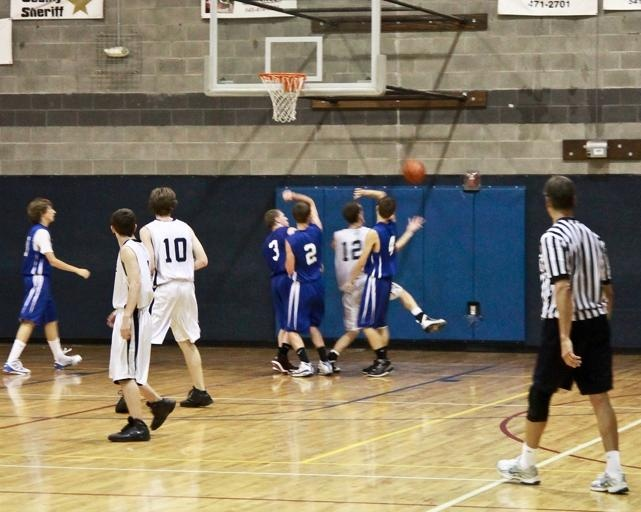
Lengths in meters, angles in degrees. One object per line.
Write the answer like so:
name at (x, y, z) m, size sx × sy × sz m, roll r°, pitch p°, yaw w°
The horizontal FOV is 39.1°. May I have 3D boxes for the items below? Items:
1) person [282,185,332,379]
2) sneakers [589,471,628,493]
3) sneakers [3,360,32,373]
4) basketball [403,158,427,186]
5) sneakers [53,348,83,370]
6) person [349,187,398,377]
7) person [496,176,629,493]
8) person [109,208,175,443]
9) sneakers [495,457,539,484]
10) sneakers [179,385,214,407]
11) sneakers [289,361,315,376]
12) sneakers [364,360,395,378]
person at (-0.157, 0.313, 10.433) m, size 0.518 × 2.140 × 0.791 m, roll -1°, pitch 3°, yaw -3°
sneakers at (1.961, 1.558, 6.128) m, size 0.245 × 0.126 × 0.118 m, roll 2°, pitch 0°, yaw 36°
sneakers at (-3.563, 1.310, 10.480) m, size 0.327 × 0.169 × 0.147 m, roll 2°, pitch 0°, yaw -6°
basketball at (1.218, -1.116, 11.777) m, size 0.265 × 0.293 × 0.243 m, roll 0°, pitch 3°, yaw 8°
sneakers at (-3.146, 1.292, 11.083) m, size 0.369 × 0.273 × 0.131 m, roll -18°, pitch 15°, yaw -16°
person at (0.608, 0.366, 10.169) m, size 0.680 × 2.055 × 0.332 m, roll -3°, pitch 4°, yaw -31°
person at (1.698, 0.535, 6.165) m, size 0.801 × 2.156 × 0.549 m, roll 0°, pitch 3°, yaw 18°
person at (-1.501, 0.571, 7.337) m, size 0.523 × 1.904 × 0.464 m, roll -1°, pitch 3°, yaw -8°
sneakers at (1.390, 1.523, 6.362) m, size 0.317 × 0.186 × 0.136 m, roll 12°, pitch 13°, yaw 34°
sneakers at (-1.194, 1.355, 8.612) m, size 0.382 × 0.282 × 0.141 m, roll 2°, pitch -1°, yaw 10°
sneakers at (-0.243, 1.310, 10.320) m, size 0.347 × 0.170 × 0.131 m, roll -2°, pitch -3°, yaw 35°
sneakers at (0.660, 1.300, 10.265) m, size 0.289 × 0.129 × 0.174 m, roll 2°, pitch -3°, yaw -39°
